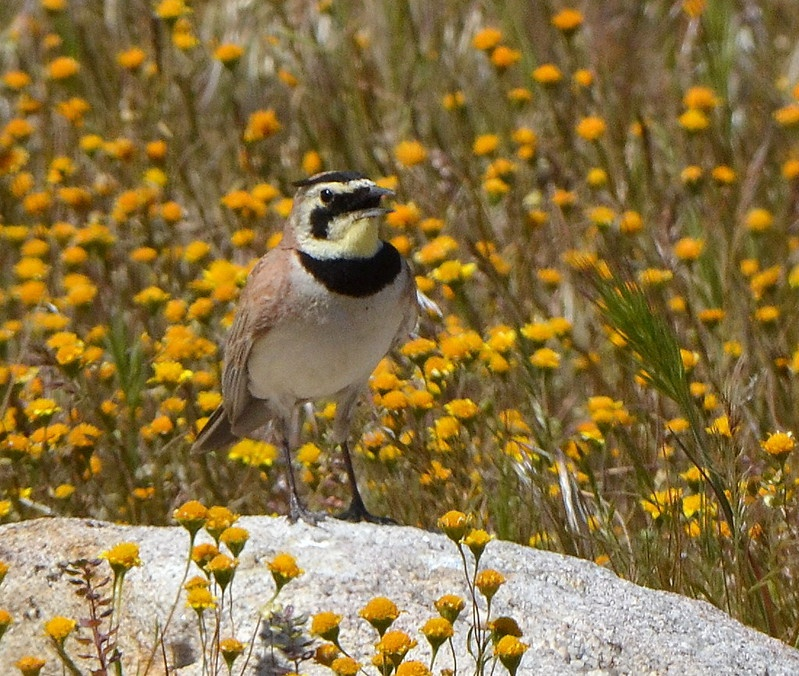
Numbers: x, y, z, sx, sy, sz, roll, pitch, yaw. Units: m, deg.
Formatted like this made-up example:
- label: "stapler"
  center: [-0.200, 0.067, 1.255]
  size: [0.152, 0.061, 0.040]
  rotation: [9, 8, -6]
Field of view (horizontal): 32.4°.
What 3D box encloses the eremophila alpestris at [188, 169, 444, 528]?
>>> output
- label: "eremophila alpestris"
  center: [-0.389, 0.078, 5.981]
  size: [0.969, 1.537, 0.424]
  rotation: [-6, 21, 8]
